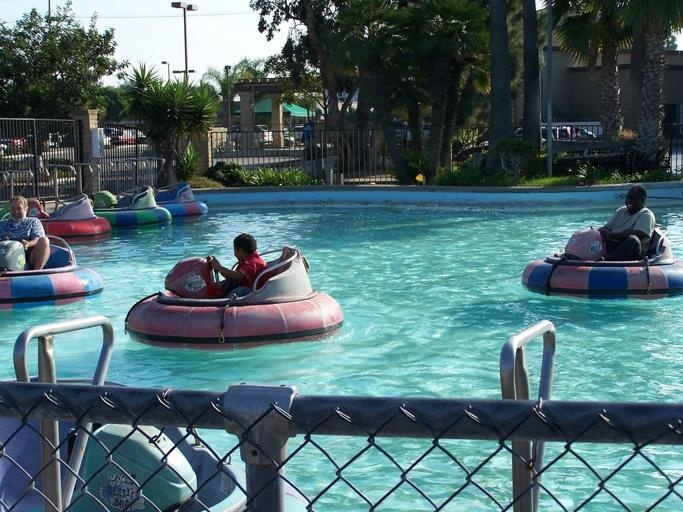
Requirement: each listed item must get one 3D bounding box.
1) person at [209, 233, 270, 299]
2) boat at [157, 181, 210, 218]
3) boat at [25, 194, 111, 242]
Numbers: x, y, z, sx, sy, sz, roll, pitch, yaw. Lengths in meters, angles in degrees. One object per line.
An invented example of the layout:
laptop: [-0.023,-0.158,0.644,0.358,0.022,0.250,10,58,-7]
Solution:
person: [-1.087,0.142,9.067,0.600,0.768,0.625,-7,-5,25]
boat: [-3.688,-1.218,20.241,0.939,0.496,0.980,3,8,-3]
boat: [-5.154,-0.643,16.559,1.234,0.605,1.298,3,5,-1]
